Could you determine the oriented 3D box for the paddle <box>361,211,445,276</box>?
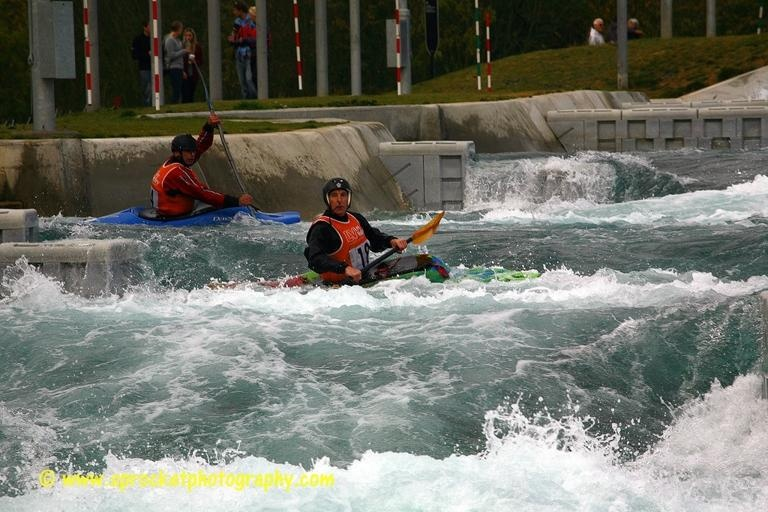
[{"bbox_3d":[0.257,-0.138,14.434,1.675,0.211,0.183,-31,24,-22],"label":"paddle"}]

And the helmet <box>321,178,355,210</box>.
[{"bbox_3d":[-0.553,-0.815,12.866,0.392,0.393,0.444,2,-24,-11],"label":"helmet"}]

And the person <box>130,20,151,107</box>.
[{"bbox_3d":[-5.043,-3.997,22.686,0.414,1.198,1.328,-8,5,-12],"label":"person"}]
